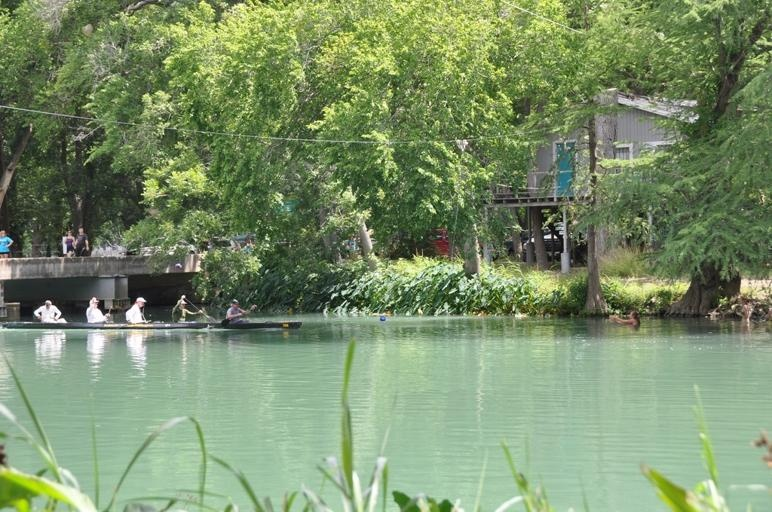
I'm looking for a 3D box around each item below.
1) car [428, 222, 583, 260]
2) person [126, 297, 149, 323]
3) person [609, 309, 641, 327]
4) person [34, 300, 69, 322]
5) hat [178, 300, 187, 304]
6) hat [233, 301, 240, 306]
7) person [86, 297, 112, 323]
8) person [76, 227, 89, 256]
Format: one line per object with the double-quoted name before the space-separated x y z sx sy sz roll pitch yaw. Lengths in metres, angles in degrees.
"car" 6.046 -0.608 55.133 6.092 1.898 2.643 0 1 -2
"person" -9.749 2.126 44.688 0.452 1.080 0.937 4 7 -4
"person" 8.054 2.079 37.648 0.674 0.509 1.329 0 -3 -17
"person" -13.736 2.248 46.662 0.931 0.750 0.519 -2 6 -44
"hat" -7.623 1.732 42.767 0.479 0.142 0.459 1 -2 0
"hat" -5.465 1.723 41.548 0.357 0.168 0.471 0 -7 2
"person" -11.415 2.141 45.494 0.810 1.215 0.855 -6 6 0
"person" -14.086 -0.630 52.971 0.568 1.463 2.384 -1 -3 -16
